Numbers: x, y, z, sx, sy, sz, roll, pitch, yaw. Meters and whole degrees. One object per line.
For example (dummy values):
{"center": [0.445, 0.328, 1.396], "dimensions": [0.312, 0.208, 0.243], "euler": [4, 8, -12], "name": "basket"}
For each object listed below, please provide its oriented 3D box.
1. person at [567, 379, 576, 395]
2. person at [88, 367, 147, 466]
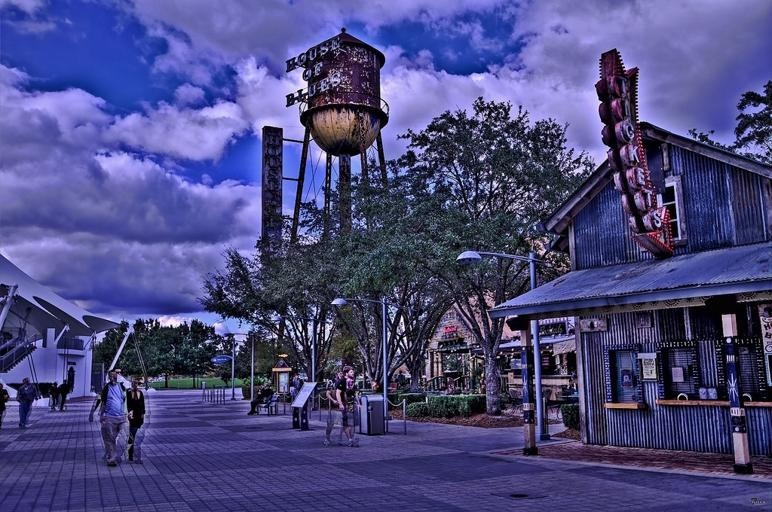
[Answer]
{"center": [10.317, 7.241, 32.206], "dimensions": [0.437, 0.792, 1.729], "euler": [-3, -9, 17], "name": "person"}
{"center": [-7.713, 4.712, 16.936], "dimensions": [0.815, 2.710, 1.431], "euler": [-4, -8, 21], "name": "person"}
